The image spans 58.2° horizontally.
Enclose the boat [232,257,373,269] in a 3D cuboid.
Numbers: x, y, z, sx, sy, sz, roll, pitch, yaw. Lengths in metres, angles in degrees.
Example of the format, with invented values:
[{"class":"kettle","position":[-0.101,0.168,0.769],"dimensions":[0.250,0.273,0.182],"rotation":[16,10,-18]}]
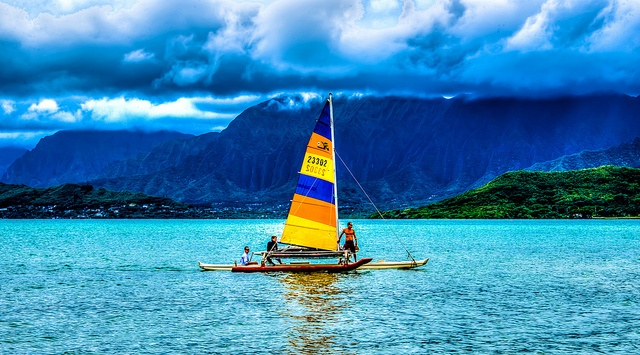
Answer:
[{"class":"boat","position":[-2.741,18.576,113.745],"dimensions":[9.937,3.182,15.785],"rotation":[-1,-1,31]}]
